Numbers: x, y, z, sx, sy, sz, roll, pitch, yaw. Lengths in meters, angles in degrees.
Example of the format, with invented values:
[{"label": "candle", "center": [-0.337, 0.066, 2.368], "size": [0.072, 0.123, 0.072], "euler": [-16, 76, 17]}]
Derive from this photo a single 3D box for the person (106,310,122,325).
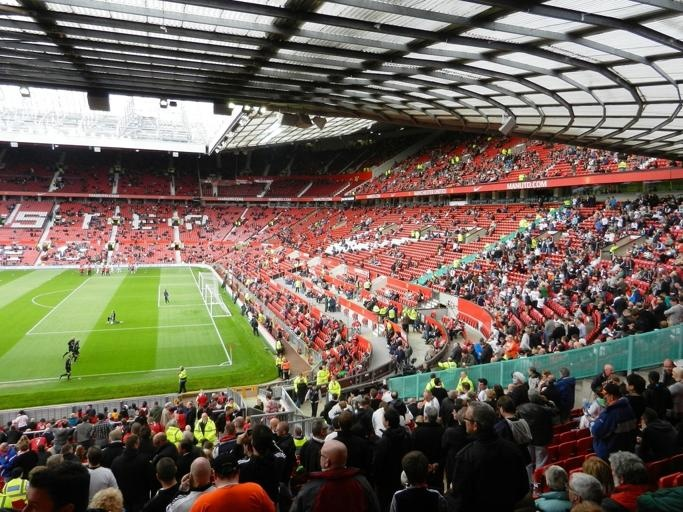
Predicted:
[{"label": "person", "center": [-13.616, 3.686, 28.408], "size": [0.840, 0.708, 1.368], "euler": [-1, 6, -25]}]
